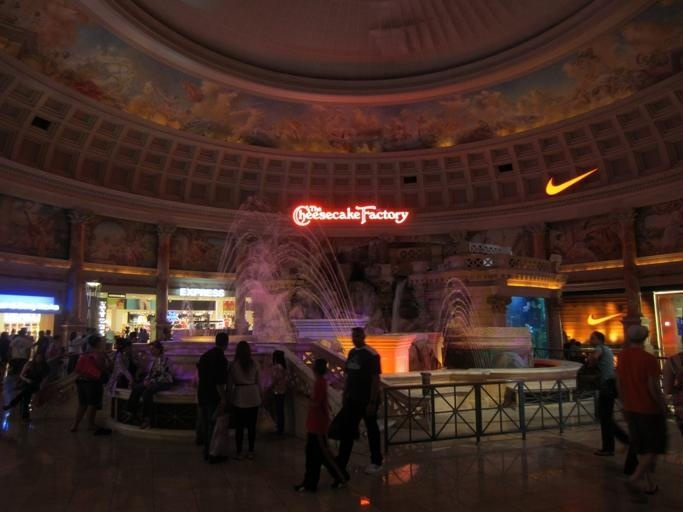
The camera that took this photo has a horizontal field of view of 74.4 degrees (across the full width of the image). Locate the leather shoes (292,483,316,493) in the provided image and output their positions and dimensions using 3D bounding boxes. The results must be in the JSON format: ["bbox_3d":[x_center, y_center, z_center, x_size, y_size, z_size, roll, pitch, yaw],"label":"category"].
[{"bbox_3d":[-0.511,3.270,6.344,0.323,0.096,0.115,0,0,-2],"label":"leather shoes"}]

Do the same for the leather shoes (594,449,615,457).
[{"bbox_3d":[4.533,3.412,7.796,0.330,0.130,0.135,-1,-7,-1],"label":"leather shoes"}]

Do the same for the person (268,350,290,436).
[{"bbox_3d":[-1.288,2.804,9.336,0.383,1.557,0.651,1,0,-9],"label":"person"}]

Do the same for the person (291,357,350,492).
[{"bbox_3d":[-0.368,2.486,6.671,0.732,1.637,0.713,1,0,-15],"label":"person"}]

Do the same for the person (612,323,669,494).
[{"bbox_3d":[4.311,2.175,6.480,0.617,2.329,0.691,0,0,31],"label":"person"}]

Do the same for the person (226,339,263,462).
[{"bbox_3d":[-1.654,2.462,7.745,0.539,1.851,0.418,1,0,-9],"label":"person"}]
